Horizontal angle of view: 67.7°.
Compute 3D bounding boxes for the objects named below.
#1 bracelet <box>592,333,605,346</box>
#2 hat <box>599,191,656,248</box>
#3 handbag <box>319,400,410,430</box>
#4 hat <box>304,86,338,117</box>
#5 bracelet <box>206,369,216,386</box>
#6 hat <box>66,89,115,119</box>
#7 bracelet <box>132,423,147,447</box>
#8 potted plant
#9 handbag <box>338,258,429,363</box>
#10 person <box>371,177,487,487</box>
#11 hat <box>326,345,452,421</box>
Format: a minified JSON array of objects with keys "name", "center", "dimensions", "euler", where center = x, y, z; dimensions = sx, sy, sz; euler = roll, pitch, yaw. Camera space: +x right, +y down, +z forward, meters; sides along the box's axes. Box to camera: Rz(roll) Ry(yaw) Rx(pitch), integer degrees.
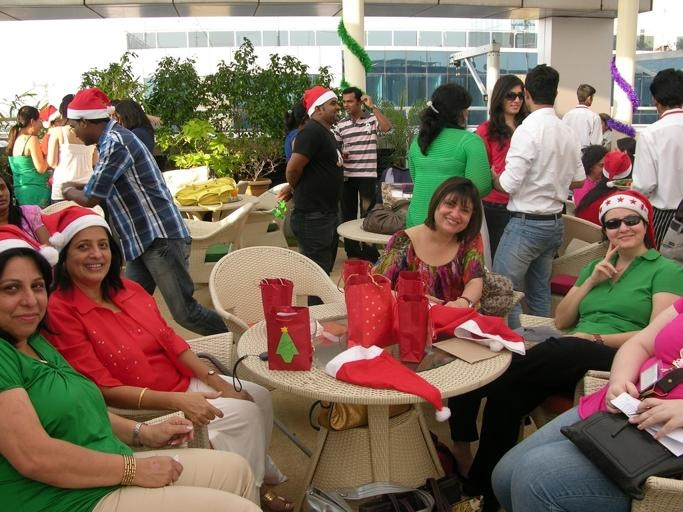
[{"name":"bracelet","center":[1.191,0.384,2.360],"dimensions":[0.029,0.046,0.041],"euler":[1,-1,14]},{"name":"hat","center":[1.488,-0.181,2.650],"dimensions":[0.298,0.339,0.242],"euler":[2,-2,7]},{"name":"handbag","center":[0.067,0.676,2.237],"dimensions":[0.274,0.107,0.190],"euler":[-9,1,-16]},{"name":"hat","center":[-0.179,-1.207,4.046],"dimensions":[0.257,0.245,0.199],"euler":[-22,23,10]},{"name":"bracelet","center":[-0.596,0.554,2.316],"dimensions":[0.059,0.061,0.040],"euler":[-3,-3,19]},{"name":"hat","center":[-1.478,-0.887,2.971],"dimensions":[0.240,0.179,0.199],"euler":[-14,19,-27]},{"name":"bracelet","center":[-0.742,0.658,1.869],"dimensions":[0.027,0.077,0.056],"euler":[2,-14,-7]},{"name":"potted plant","center":[-1.412,-1.916,9.939],"dimensions":[1.325,1.537,1.191],"euler":[-3,9,-11]},{"name":"handbag","center":[0.229,0.197,2.216],"dimensions":[0.322,0.402,0.394],"euler":[3,8,36]},{"name":"person","center":[0.500,0.383,2.931],"dimensions":[0.598,1.718,0.528],"euler":[-4,26,-3]},{"name":"hat","center":[0.172,0.446,1.929],"dimensions":[0.439,0.106,0.253],"euler":[20,11,36]}]
